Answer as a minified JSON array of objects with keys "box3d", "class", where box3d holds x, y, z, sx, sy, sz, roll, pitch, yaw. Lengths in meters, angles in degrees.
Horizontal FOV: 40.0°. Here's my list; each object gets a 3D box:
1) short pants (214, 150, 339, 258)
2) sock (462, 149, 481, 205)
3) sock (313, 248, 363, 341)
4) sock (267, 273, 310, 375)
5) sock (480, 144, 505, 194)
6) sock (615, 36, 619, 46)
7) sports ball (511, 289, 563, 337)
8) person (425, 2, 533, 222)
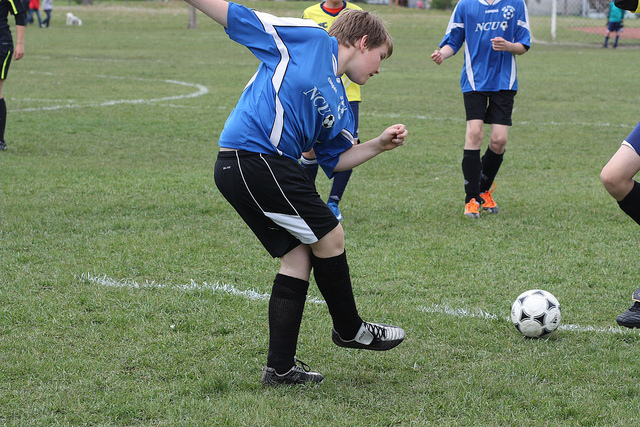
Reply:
[{"box3d":[-0.398,-0.159,7.146,0.660,0.897,0.625,-12,13,41],"class":"short pants"},{"box3d":[1.716,-0.413,9.878,0.224,0.605,0.303,2,14,-9],"class":"sock"},{"box3d":[0.137,0.674,7.132,0.443,0.744,0.106,4,14,0],"class":"sock"},{"box3d":[-0.276,0.888,7.075,0.295,0.798,0.194,4,14,-1],"class":"sock"},{"box3d":[1.941,-0.501,10.047,0.228,0.539,0.289,6,14,8],"class":"sock"},{"box3d":[8.329,-4.854,24.744,0.065,0.263,0.608,8,14,15],"class":"sock"},{"box3d":[1.895,0.854,7.742,0.390,0.376,0.384,4,23,-2],"class":"sports ball"},{"box3d":[1.773,-1.192,9.832,0.928,2.331,0.736,7,14,11],"class":"person"}]
